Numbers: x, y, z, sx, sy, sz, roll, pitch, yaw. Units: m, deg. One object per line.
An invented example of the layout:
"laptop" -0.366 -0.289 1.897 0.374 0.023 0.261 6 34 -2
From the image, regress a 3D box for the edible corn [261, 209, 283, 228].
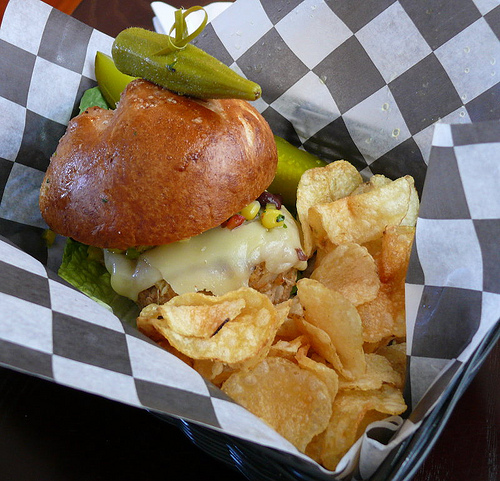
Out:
"edible corn" 0.063 -0.061 1.510 0.051 0.028 0.051 -34 65 -31

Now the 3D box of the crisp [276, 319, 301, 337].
"crisp" 0.101 0.226 1.394 0.050 0.050 0.012 3 47 23

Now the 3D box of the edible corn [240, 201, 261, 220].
"edible corn" 0.004 -0.090 1.509 0.033 0.024 0.065 33 38 11

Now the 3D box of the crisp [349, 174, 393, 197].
"crisp" 0.360 -0.161 1.624 0.091 0.034 0.071 -23 -4 24
